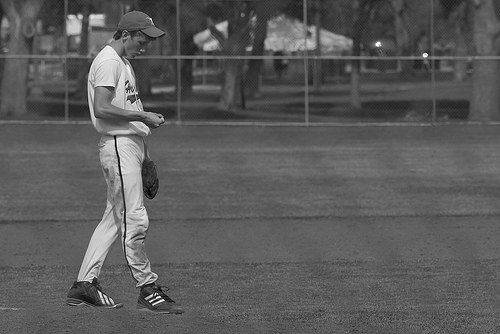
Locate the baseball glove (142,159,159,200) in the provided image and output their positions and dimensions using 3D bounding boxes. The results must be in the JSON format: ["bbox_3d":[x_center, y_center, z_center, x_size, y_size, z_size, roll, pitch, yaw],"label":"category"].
[{"bbox_3d":[-1.236,0.153,15.877,0.149,0.401,0.295,-13,-7,1],"label":"baseball glove"}]
